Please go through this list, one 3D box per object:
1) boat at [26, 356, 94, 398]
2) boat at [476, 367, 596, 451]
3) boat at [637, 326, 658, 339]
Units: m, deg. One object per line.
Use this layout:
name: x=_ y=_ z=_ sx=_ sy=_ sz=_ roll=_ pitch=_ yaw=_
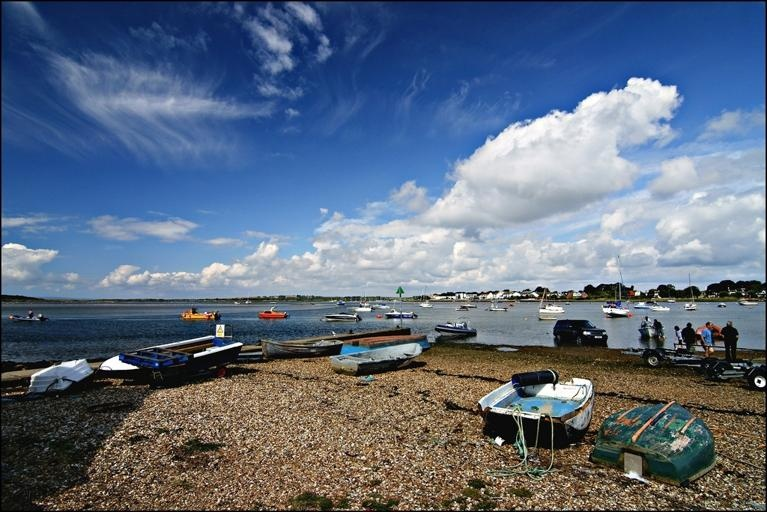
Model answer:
boat: x=-18.048 y=6.811 z=25.001 sx=1.786 sy=0.743 sz=2.480 roll=-2 pitch=-1 yaw=-2
boat: x=7.066 y=6.770 z=19.645 sx=5.018 sy=2.837 sz=3.484 roll=4 pitch=-5 yaw=-38
boat: x=30.243 y=8.620 z=49.917 sx=1.515 sy=1.236 sz=4.138 roll=-10 pitch=-14 yaw=25
